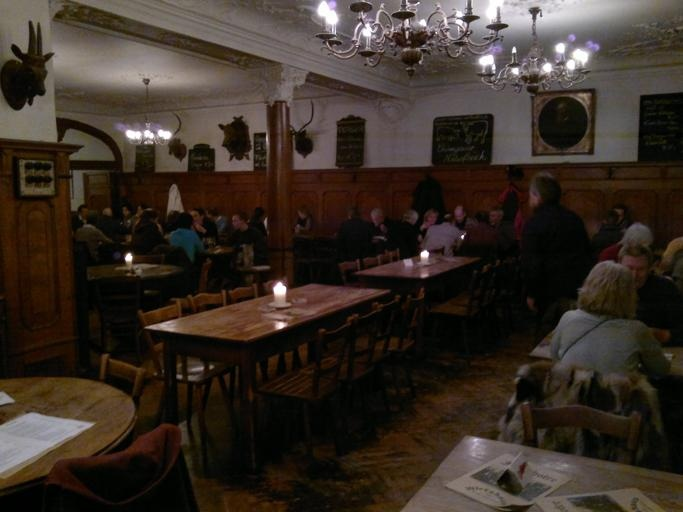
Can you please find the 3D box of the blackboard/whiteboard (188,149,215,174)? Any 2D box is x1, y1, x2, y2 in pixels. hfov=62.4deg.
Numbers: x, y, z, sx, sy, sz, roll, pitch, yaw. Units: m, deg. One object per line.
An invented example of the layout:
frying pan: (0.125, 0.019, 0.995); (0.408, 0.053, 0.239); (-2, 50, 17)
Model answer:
blackboard/whiteboard: (-3.566, -2.395, 14.353); (0.636, 0.579, 0.090); (2, 1, 27)

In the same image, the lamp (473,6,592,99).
lamp: (2.737, -2.864, 7.855); (1.211, 0.979, 1.228); (5, 14, 38)

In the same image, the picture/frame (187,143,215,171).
picture/frame: (-3.591, -2.523, 14.359); (0.690, 0.735, 0.092); (1, 2, 26)

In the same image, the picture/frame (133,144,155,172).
picture/frame: (-5.313, -2.628, 15.105); (0.666, 0.905, 0.112); (2, 0, 14)

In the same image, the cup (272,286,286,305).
cup: (-0.543, 0.335, 5.000); (0.135, 0.218, 0.139); (-1, 3, 0)

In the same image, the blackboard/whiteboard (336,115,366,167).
blackboard/whiteboard: (0.189, -2.480, 12.350); (0.674, 1.141, 0.169); (5, 12, 22)

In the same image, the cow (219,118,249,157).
cow: (-2.163, -2.360, 11.592); (0.783, 1.033, 0.275); (-4, 23, -9)

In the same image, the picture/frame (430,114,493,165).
picture/frame: (2.445, -2.292, 11.201); (1.246, 0.976, 0.102); (0, -5, 11)

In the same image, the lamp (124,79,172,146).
lamp: (-4.358, -3.212, 12.618); (0.937, 1.375, 0.952); (4, 14, 10)

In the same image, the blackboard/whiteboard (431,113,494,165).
blackboard/whiteboard: (2.464, -2.314, 11.138); (1.020, 0.826, 0.108); (5, 6, 36)
